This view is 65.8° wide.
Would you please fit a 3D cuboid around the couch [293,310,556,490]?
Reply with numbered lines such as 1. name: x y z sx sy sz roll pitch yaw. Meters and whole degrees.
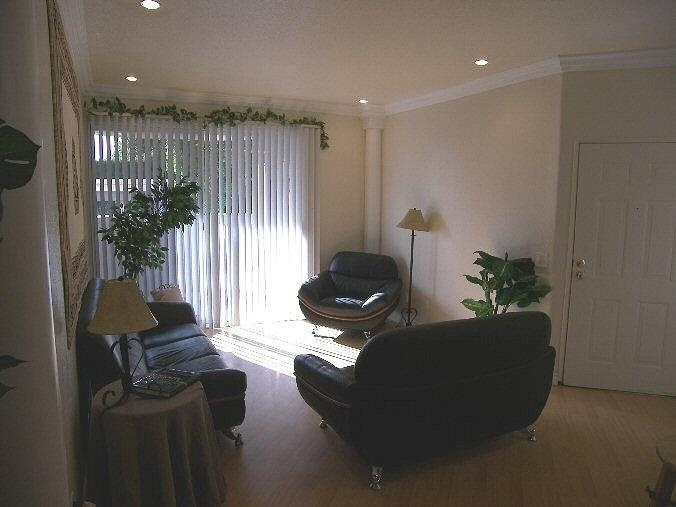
1. couch: 0.622 0.800 3.564 1.600 0.973 0.900 -5 12 -27

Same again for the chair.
1. chair: 0.151 0.518 5.916 1.135 0.859 1.026 2 15 7

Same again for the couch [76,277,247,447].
1. couch: -1.223 0.765 3.695 0.964 0.872 1.996 -3 12 -17

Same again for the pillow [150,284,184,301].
1. pillow: -1.661 0.399 5.170 0.206 0.085 0.211 24 26 23

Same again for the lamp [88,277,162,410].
1. lamp: -1.203 0.453 2.954 0.343 0.650 0.418 -6 13 -24
